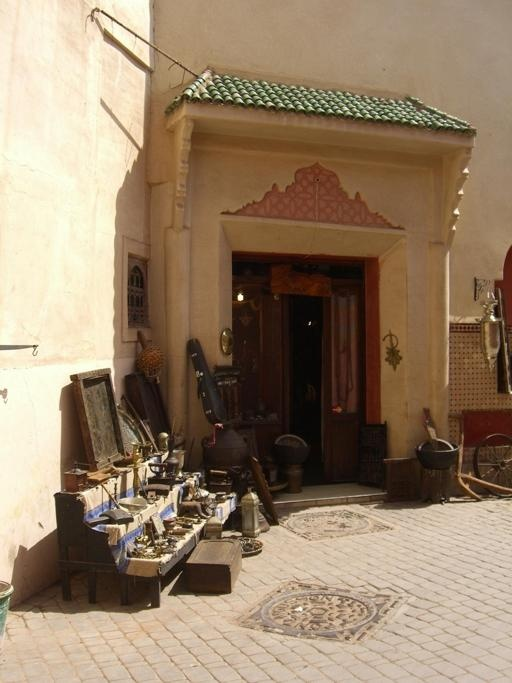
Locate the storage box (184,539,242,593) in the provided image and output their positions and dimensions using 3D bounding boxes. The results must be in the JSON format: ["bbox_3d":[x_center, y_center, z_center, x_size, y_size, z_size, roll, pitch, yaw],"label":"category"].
[{"bbox_3d":[-0.370,1.992,5.548,0.363,0.283,0.653,-1,-1,3],"label":"storage box"}]

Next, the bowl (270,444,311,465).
[{"bbox_3d":[0.506,1.594,8.928,0.358,0.208,0.346,-1,0,0],"label":"bowl"}]

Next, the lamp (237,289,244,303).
[{"bbox_3d":[-0.242,-0.678,9.467,0.149,0.233,0.140,2,-3,-13],"label":"lamp"}]

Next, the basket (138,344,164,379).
[{"bbox_3d":[-1.277,0.245,7.508,0.387,0.503,0.394,0,3,-17],"label":"basket"}]

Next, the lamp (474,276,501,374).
[{"bbox_3d":[3.560,-0.315,9.676,0.377,1.431,0.772,-1,-2,20],"label":"lamp"}]

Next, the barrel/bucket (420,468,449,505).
[{"bbox_3d":[2.560,2.043,8.867,0.458,0.449,0.441,0,-5,0],"label":"barrel/bucket"}]

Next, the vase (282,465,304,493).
[{"bbox_3d":[0.422,1.970,8.957,0.349,0.446,0.338,2,-13,-14],"label":"vase"}]

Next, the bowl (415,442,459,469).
[{"bbox_3d":[2.492,1.611,8.672,0.563,0.434,0.486,2,-3,-36],"label":"bowl"}]

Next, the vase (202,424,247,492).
[{"bbox_3d":[-0.376,1.405,7.807,0.546,0.841,0.556,1,-1,-8],"label":"vase"}]

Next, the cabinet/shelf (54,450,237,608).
[{"bbox_3d":[-0.975,1.654,5.687,0.919,0.962,1.714,0,-2,14],"label":"cabinet/shelf"}]
